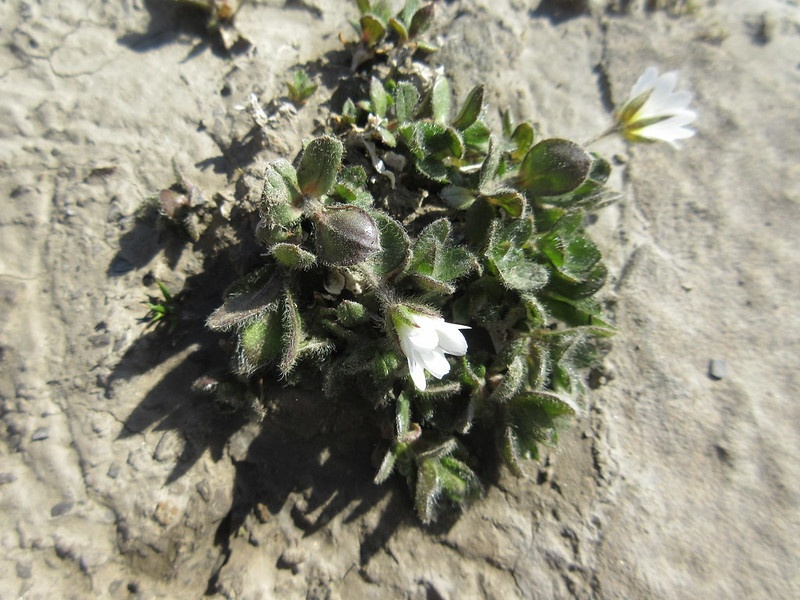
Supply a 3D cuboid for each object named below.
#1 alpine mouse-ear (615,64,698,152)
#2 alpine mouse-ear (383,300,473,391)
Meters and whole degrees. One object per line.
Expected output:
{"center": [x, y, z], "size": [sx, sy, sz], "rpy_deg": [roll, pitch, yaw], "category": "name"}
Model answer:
{"center": [1.843, -1.349, 5.362], "size": [0.394, 0.461, 0.536], "rpy_deg": [-28, 64, -5], "category": "alpine mouse-ear"}
{"center": [0.213, 0.310, 4.815], "size": [0.485, 0.241, 0.559], "rpy_deg": [-32, 59, 32], "category": "alpine mouse-ear"}
